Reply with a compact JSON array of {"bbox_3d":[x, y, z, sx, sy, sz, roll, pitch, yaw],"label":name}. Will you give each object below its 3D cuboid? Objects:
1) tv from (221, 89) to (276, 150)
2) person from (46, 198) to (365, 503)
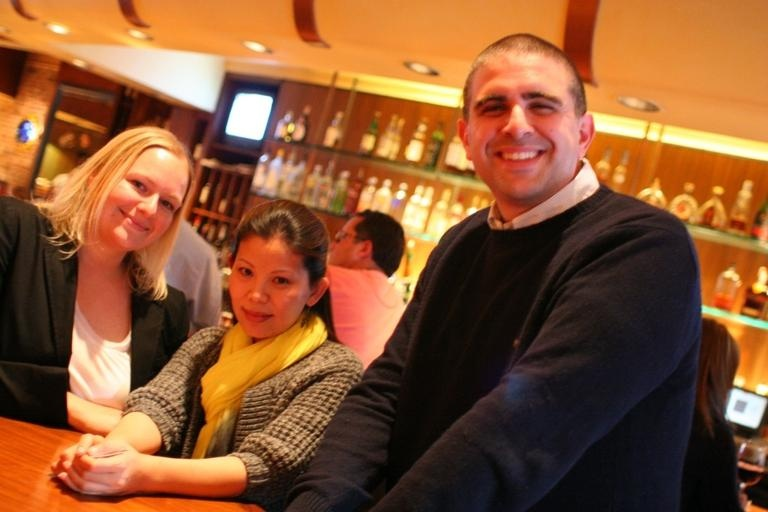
[{"bbox_3d":[-1.348,-1.358,6.107,0.585,0.549,0.144,13,3,25],"label":"tv"},{"bbox_3d":[-0.580,0.303,2.160,0.692,0.987,1.028,9,-3,35],"label":"person"}]
